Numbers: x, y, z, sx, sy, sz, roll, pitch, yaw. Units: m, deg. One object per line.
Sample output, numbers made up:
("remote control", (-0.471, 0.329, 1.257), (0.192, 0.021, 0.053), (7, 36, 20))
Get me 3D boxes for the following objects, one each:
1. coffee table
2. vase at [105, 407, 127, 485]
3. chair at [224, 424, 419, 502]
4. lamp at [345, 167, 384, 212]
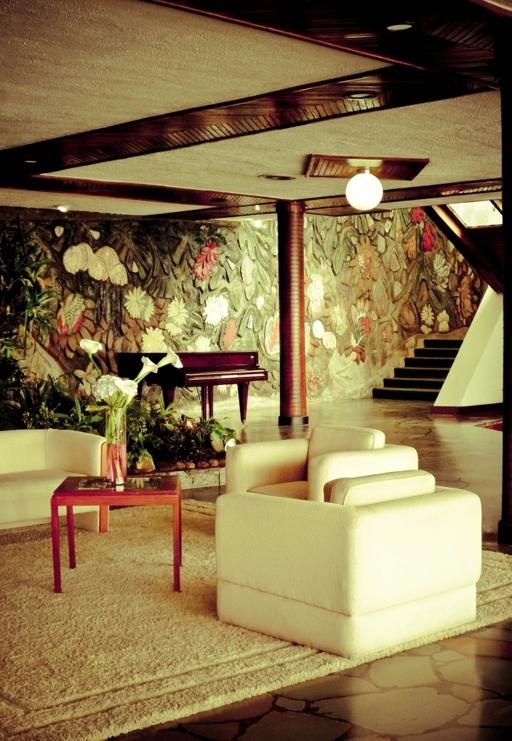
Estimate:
("coffee table", (-0.725, 0.753, 2.992), (0.640, 0.519, 0.583), (-2, 10, -9))
("vase", (-0.725, 0.400, 2.972), (0.096, 0.384, 0.064), (1, -5, -24))
("chair", (0.267, 0.484, 3.093), (0.525, 0.480, 0.729), (3, -5, -36))
("lamp", (1.121, -1.916, 5.867), (0.320, 0.522, 0.537), (-3, -5, 15))
